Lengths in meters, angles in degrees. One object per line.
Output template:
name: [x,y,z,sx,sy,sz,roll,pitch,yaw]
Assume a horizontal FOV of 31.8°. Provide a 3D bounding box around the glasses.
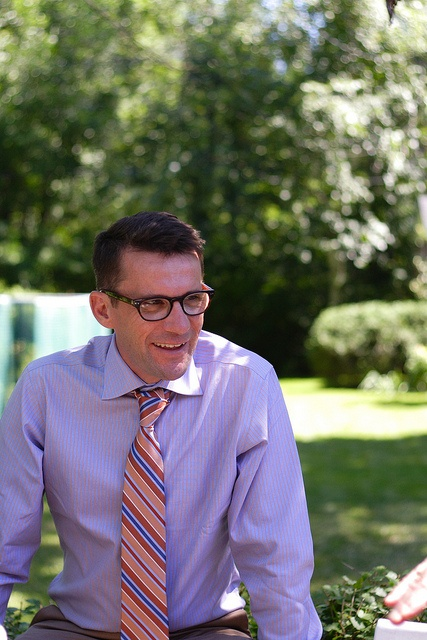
glasses: [-0.144,-0.042,1.957,0.305,0.094,0.184,-1,3,-7]
